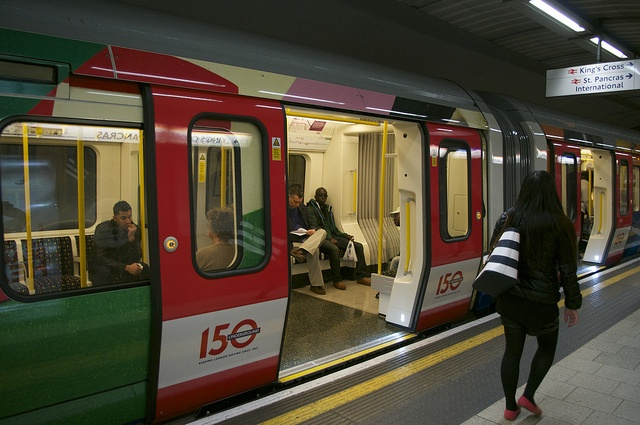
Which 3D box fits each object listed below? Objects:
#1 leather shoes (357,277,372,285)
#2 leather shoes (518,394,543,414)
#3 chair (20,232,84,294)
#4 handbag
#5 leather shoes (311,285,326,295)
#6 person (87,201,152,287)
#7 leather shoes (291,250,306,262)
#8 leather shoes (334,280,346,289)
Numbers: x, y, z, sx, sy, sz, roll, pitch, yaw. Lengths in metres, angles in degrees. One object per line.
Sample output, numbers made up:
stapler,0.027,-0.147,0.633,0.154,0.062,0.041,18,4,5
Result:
leather shoes,0.839,1.341,8.447,0.258,0.119,0.255,-2,6,1
leather shoes,2.162,1.983,4.498,0.309,0.124,0.111,29,-2,-7
chair,-2.236,0.410,3.737,0.423,0.602,0.415,-5,1,-37
handbag,1.799,0.410,4.312,0.362,0.838,0.514,2,7,36
leather shoes,-0.042,1.411,7.884,0.288,0.124,0.109,3,5,36
person,-1.773,0.376,3.807,0.538,0.958,0.609,2,5,-28
leather shoes,-0.415,0.797,7.874,0.233,0.240,0.146,-3,6,-13
leather shoes,0.346,1.364,8.141,0.137,0.120,0.331,-7,8,-41
